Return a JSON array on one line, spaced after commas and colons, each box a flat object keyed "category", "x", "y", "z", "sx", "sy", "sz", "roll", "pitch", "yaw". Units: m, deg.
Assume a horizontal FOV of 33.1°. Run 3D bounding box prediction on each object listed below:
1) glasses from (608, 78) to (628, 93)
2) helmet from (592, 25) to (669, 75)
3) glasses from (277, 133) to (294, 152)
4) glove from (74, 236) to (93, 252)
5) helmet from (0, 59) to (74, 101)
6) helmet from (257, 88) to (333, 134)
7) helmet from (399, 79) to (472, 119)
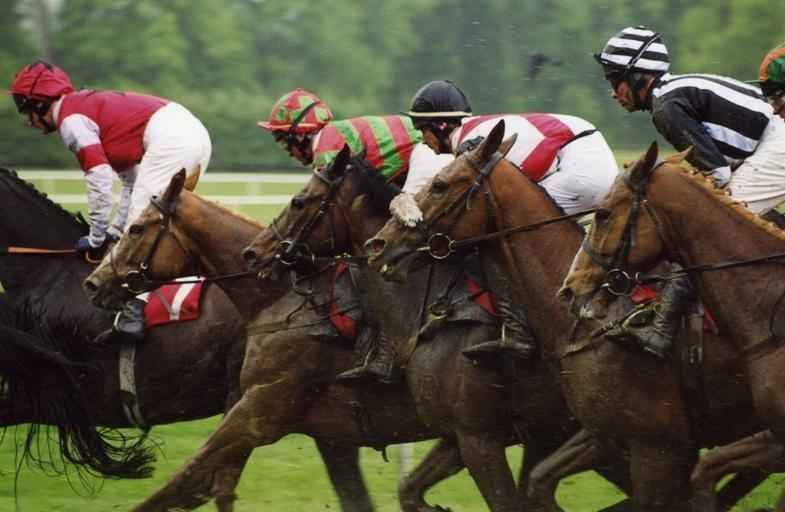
[{"category": "glasses", "x": 1.468, "y": -1.129, "z": 8.699, "sx": 0.120, "sy": 0.073, "sz": 0.094, "roll": 11, "pitch": 11, "yaw": 34}, {"category": "helmet", "x": 1.575, "y": -1.356, "z": 8.692, "sx": 0.508, "sy": 0.199, "sz": 0.335, "roll": 7, "pitch": 5, "yaw": 14}, {"category": "glasses", "x": -0.747, "y": -0.792, "z": 9.273, "sx": 0.137, "sy": 0.116, "sz": 0.079, "roll": -3, "pitch": 26, "yaw": 8}, {"category": "glove", "x": -2.143, "y": -0.075, "z": 9.151, "sx": 0.126, "sy": 0.032, "sz": 0.108, "roll": -29, "pitch": 64, "yaw": -9}, {"category": "helmet", "x": -2.527, "y": -1.248, "z": 9.433, "sx": 0.522, "sy": 0.164, "sz": 0.289, "roll": 1, "pitch": 6, "yaw": -8}, {"category": "helmet", "x": -0.659, "y": -1.006, "z": 9.266, "sx": 0.566, "sy": 0.182, "sz": 0.326, "roll": 2, "pitch": 4, "yaw": 2}, {"category": "helmet", "x": 0.276, "y": -1.020, "z": 8.664, "sx": 0.444, "sy": 0.160, "sz": 0.248, "roll": 3, "pitch": 7, "yaw": 2}]
